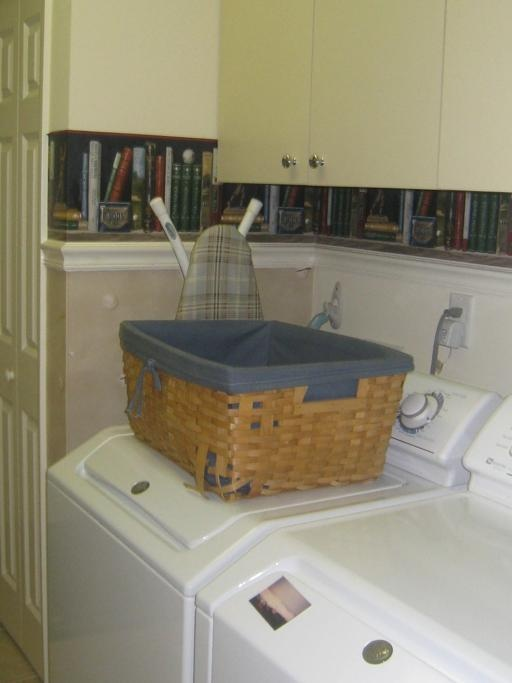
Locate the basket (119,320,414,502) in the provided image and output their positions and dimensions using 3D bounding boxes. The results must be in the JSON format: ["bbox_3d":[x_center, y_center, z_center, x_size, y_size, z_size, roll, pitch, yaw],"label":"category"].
[{"bbox_3d":[-0.070,0.100,0.921,0.291,0.189,0.391,2,10,-34],"label":"basket"}]

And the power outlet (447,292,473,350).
[{"bbox_3d":[0.476,-0.046,1.238,0.066,0.141,0.013,3,-1,-16],"label":"power outlet"}]
